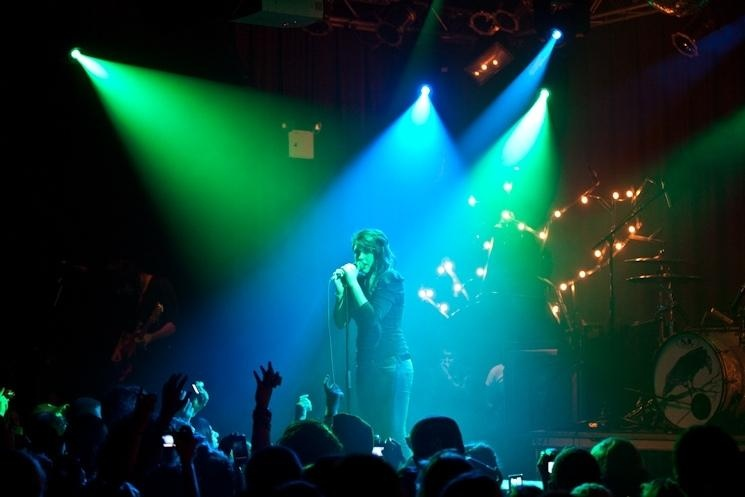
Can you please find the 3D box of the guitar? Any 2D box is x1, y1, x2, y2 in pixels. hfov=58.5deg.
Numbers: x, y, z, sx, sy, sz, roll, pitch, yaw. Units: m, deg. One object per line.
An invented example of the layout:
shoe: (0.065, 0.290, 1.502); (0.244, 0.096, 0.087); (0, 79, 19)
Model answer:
guitar: (-2.619, 1.056, 7.613); (0.286, 1.024, 0.306); (27, -25, 6)

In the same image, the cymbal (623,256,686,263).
cymbal: (3.532, 0.151, 8.271); (0.414, 0.089, 0.417); (-1, 0, -11)

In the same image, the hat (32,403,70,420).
hat: (-2.824, 1.408, 5.746); (0.254, 0.081, 0.258); (-1, -3, 3)

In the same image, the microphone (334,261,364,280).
microphone: (-0.268, 0.231, 6.358); (0.230, 0.170, 0.127); (-10, -34, 24)
